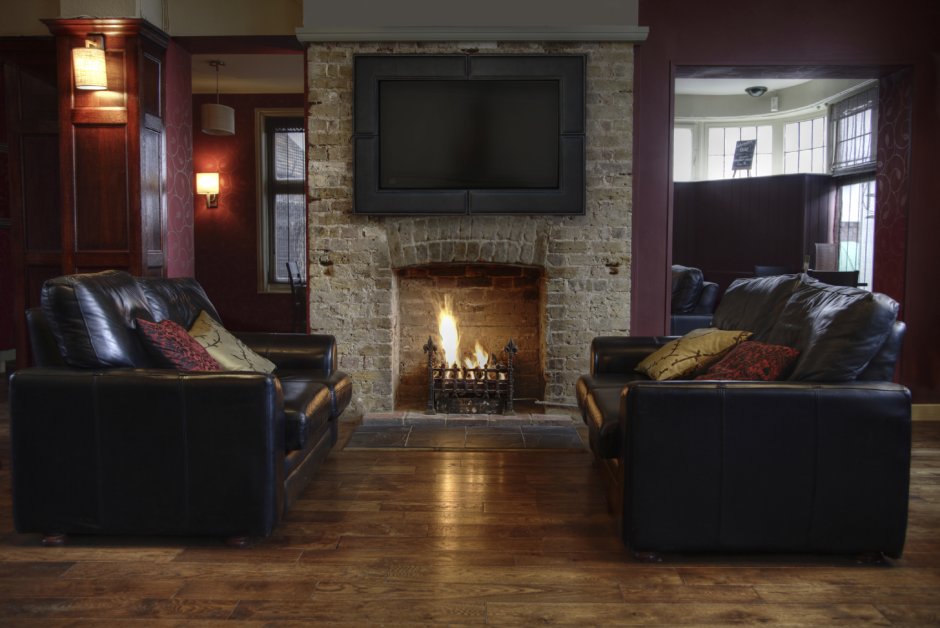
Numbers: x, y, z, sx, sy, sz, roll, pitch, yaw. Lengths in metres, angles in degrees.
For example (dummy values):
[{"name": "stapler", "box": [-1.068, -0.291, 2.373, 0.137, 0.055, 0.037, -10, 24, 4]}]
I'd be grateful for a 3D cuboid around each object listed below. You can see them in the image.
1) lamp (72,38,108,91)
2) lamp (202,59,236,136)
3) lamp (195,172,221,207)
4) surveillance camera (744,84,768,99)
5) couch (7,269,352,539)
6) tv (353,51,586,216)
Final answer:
[{"name": "lamp", "box": [-2.885, -1.891, 6.207, 0.237, 0.393, 0.194, 0, 5, -11]}, {"name": "lamp", "box": [-2.765, -2.288, 8.994, 0.314, 0.691, 1.053, -1, 4, -17]}, {"name": "lamp", "box": [-3.030, -1.414, 9.426, 0.262, 0.391, 0.152, 0, 5, -6]}, {"name": "surveillance camera", "box": [3.572, -2.773, 10.309, 0.277, 0.102, 0.441, 2, 4, 19]}, {"name": "couch", "box": [-1.699, 0.475, 4.936, 1.587, 1.449, 1.058, 1, 5, 0]}, {"name": "tv", "box": [-0.010, -1.404, 6.267, 1.364, 0.842, 0.097, 0, 2, 0]}]
